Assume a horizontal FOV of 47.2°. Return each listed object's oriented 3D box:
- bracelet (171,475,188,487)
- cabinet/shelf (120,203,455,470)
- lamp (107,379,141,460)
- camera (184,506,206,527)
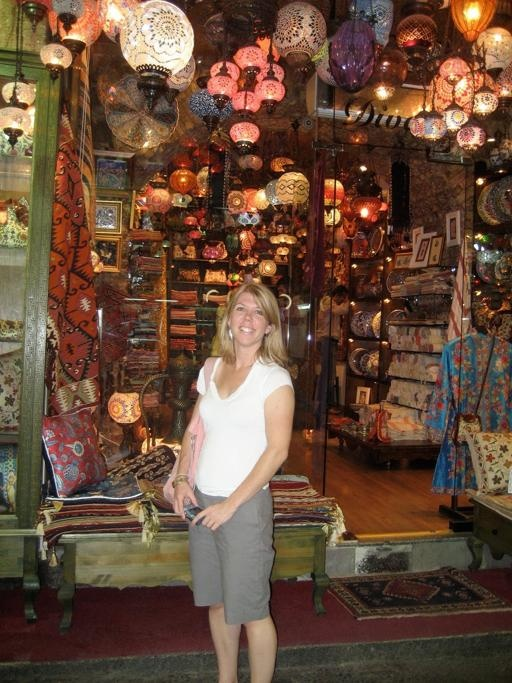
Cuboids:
[{"bbox_3d":[-0.260,0.471,1.989,0.046,0.029,0.048,10,-24,-28],"label":"bracelet"},{"bbox_3d":[0.319,-0.128,4.850,3.363,2.755,0.968,1,6,3],"label":"cabinet/shelf"},{"bbox_3d":[-0.964,0.583,4.279,0.251,0.527,0.751,3,3,-12],"label":"lamp"},{"bbox_3d":[-0.199,0.560,1.893,0.051,0.059,0.022,20,-48,-22],"label":"camera"}]
